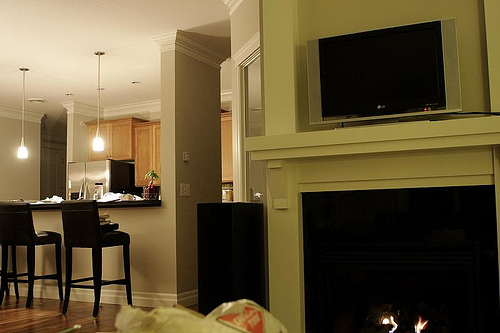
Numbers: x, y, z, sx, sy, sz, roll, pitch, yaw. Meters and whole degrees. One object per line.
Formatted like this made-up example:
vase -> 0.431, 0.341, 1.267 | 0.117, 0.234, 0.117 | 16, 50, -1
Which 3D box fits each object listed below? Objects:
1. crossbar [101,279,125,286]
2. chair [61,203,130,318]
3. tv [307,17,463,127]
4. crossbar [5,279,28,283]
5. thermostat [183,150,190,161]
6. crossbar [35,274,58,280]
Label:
crossbar -> -1.496, 1.270, 4.711 | 0.207, 0.047, 0.204 | 0, 0, -34
chair -> -1.704, 0.970, 4.750 | 0.590, 1.167, 0.646 | -6, -7, 33
tv -> 0.966, -0.636, 2.992 | 0.780, 0.511, 0.080 | -2, -4, 12
crossbar -> -2.753, 1.350, 5.055 | 0.149, 0.032, 0.151 | -2, -3, 3
thermostat -> -0.770, -0.130, 5.128 | 0.021, 0.158, 0.116 | -1, -3, 36
crossbar -> -2.435, 1.326, 5.152 | 0.183, 0.038, 0.175 | 0, -2, -18
